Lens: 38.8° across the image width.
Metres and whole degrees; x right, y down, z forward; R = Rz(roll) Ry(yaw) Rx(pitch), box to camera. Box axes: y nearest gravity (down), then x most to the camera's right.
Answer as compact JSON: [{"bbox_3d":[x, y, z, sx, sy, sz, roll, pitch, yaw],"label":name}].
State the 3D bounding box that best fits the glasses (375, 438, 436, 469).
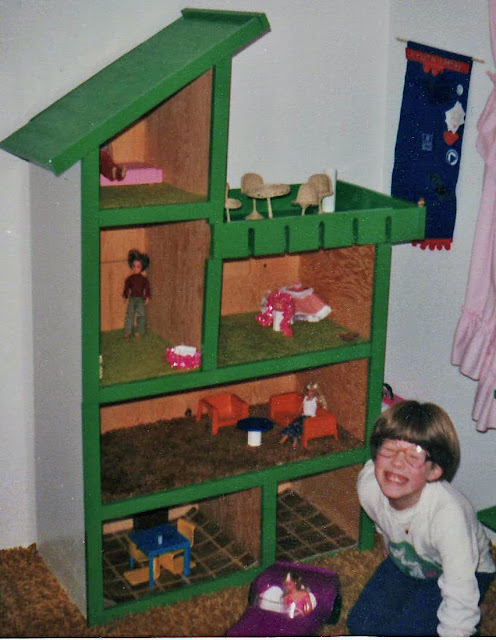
[{"bbox_3d":[0.458,0.390,2.060,0.160,0.078,0.050,4,14,21],"label":"glasses"}]
